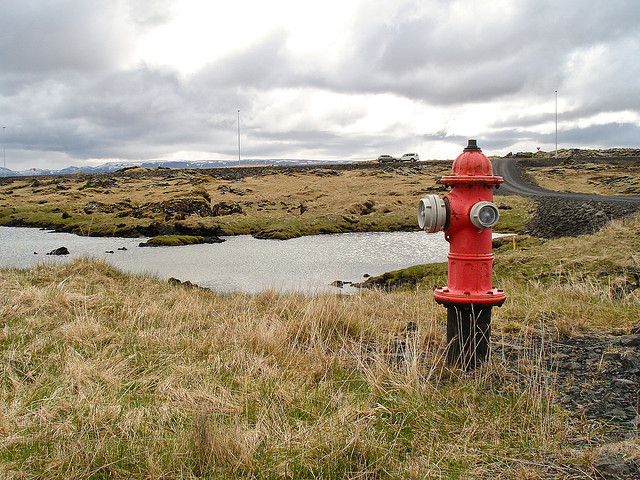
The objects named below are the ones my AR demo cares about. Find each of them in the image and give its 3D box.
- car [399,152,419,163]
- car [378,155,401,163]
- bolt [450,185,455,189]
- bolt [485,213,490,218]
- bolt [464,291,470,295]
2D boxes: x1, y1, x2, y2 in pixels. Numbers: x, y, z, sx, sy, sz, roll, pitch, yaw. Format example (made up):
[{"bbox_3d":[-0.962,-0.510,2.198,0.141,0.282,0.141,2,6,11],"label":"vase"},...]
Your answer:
[{"bbox_3d":[18.692,-17.286,107.687,3.668,1.574,1.947,-2,7,-3],"label":"car"},{"bbox_3d":[14.393,-17.000,107.642,4.480,1.362,3.913,-1,7,7],"label":"car"},{"bbox_3d":[1.791,-0.730,6.946,0.071,0.062,0.017,4,8,1],"label":"bolt"},{"bbox_3d":[2.113,-0.316,6.496,0.053,0.055,0.022,0,7,16],"label":"bolt"},{"bbox_3d":[1.897,0.681,6.638,0.067,0.029,0.059,-1,7,7],"label":"bolt"}]
